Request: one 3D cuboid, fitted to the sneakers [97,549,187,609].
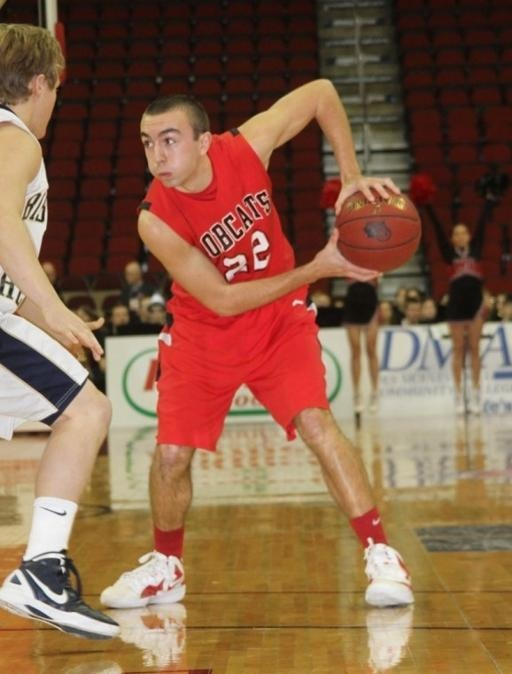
[{"bbox_3d":[-0.316,0.685,2.122,0.228,0.112,0.120,2,-6,-13],"label":"sneakers"}]

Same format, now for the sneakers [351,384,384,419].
[{"bbox_3d":[1.021,0.621,6.908,0.240,0.231,0.261,0,-28,1],"label":"sneakers"}]

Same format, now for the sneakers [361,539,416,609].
[{"bbox_3d":[0.346,0.628,1.971,0.090,0.078,0.203,-4,-3,1],"label":"sneakers"}]

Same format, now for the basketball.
[{"bbox_3d":[0.360,-0.309,2.217,0.276,0.210,0.234,1,-1,-1],"label":"basketball"}]
